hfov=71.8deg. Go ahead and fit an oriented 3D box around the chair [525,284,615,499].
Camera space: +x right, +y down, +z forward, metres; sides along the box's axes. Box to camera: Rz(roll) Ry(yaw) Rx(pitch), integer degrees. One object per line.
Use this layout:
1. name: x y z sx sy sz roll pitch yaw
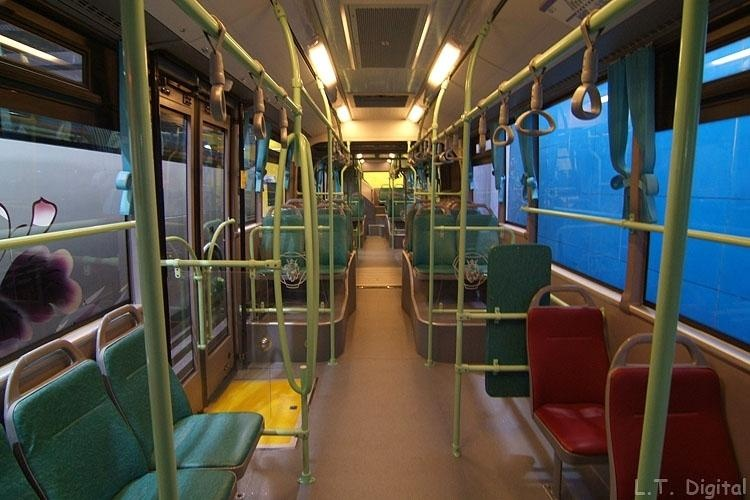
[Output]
1. chair: 1.313 0.783 3.449 0.558 1.012 0.679 1 5 11
